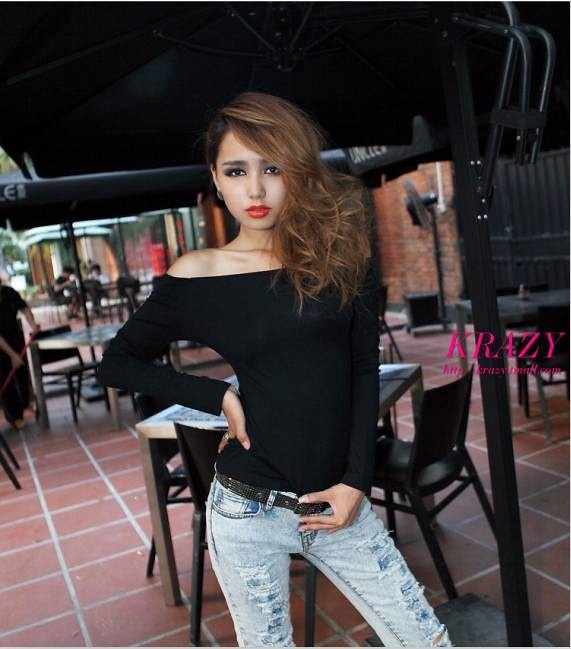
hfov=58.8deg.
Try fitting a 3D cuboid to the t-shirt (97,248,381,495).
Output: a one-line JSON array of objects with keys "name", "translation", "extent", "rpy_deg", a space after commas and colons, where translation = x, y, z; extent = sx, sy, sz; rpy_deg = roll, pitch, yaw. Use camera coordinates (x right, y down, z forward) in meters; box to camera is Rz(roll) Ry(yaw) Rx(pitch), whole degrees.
[{"name": "t-shirt", "translation": [-0.017, 0.079, 1.045], "extent": [0.408, 0.213, 0.521], "rpy_deg": [5, 1, 4]}]

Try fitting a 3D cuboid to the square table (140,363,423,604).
[{"name": "square table", "translation": [0.073, 0.626, 2.179], "extent": [0.834, 0.765, 1.107], "rpy_deg": [3, 12, 18]}]
